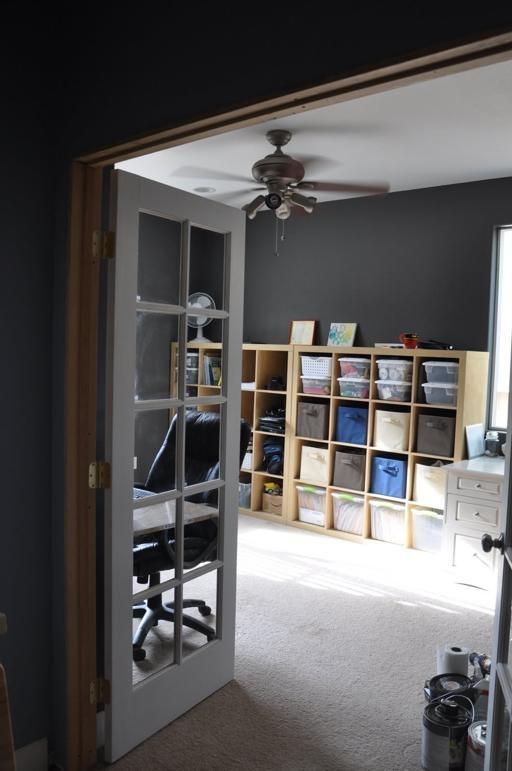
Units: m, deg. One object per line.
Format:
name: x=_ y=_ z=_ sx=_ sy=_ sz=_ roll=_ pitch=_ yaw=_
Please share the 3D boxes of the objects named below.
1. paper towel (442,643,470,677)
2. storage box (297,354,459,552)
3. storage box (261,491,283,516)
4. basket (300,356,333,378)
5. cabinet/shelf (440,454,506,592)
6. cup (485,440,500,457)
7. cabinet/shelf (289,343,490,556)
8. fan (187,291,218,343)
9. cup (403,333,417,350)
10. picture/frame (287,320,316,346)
paper towel: x=0.714 y=0.981 z=2.121 sx=0.091 sy=0.103 sz=0.092 roll=14 pitch=-29 yaw=-19
storage box: x=0.892 y=0.479 z=4.204 sx=1.280 sy=1.531 sz=0.465 roll=1 pitch=0 yaw=45
storage box: x=0.136 y=0.981 z=4.969 sx=0.134 sy=0.178 sz=0.233 roll=4 pitch=-3 yaw=-32
basket: x=0.456 y=-0.150 z=4.556 sx=0.201 sy=0.139 sz=0.144 roll=1 pitch=1 yaw=28
cabinet/shelf: x=1.265 y=0.840 z=3.528 sx=0.348 sy=0.551 sz=0.145 roll=3 pitch=2 yaw=33
cup: x=1.596 y=0.421 z=4.029 sx=0.095 sy=0.116 sz=0.099 roll=0 pitch=-1 yaw=0
cabinet/shelf: x=0.960 y=0.446 z=4.124 sx=0.391 sy=1.284 sz=1.287 roll=-4 pitch=7 yaw=-42
fan: x=-0.193 y=-0.247 z=2.134 sx=0.090 sy=0.190 sz=0.293 roll=2 pitch=2 yaw=-4
cup: x=1.067 y=-0.310 z=4.141 sx=0.097 sy=0.104 sz=0.089 roll=2 pitch=3 yaw=0
picture/frame: x=0.404 y=-0.466 z=5.180 sx=0.249 sy=0.197 sz=0.078 roll=4 pitch=2 yaw=42
